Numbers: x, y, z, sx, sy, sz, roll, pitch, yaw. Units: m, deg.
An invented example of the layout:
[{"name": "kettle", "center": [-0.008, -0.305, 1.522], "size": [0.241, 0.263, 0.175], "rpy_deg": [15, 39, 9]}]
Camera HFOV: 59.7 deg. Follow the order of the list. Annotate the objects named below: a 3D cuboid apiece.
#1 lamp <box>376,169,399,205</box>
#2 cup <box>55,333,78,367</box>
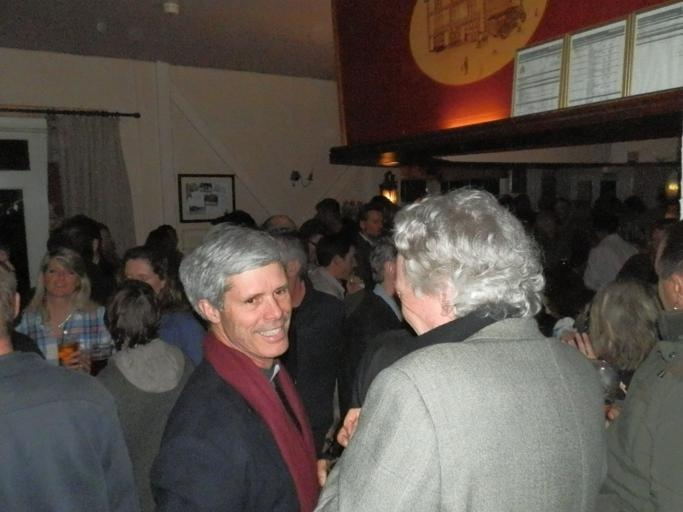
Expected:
[{"name": "lamp", "center": [0.685, -0.927, 8.377], "size": [0.259, 0.646, 0.273], "rpy_deg": [1, 1, 42]}, {"name": "cup", "center": [-1.510, 0.503, 3.297], "size": [0.122, 0.193, 0.119], "rpy_deg": [-5, -5, 0]}]
